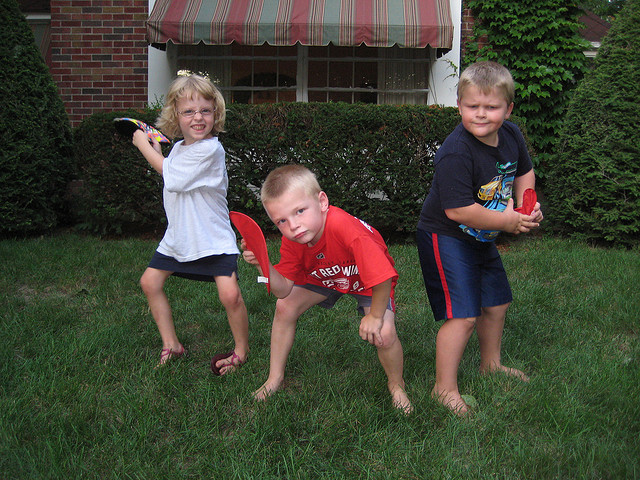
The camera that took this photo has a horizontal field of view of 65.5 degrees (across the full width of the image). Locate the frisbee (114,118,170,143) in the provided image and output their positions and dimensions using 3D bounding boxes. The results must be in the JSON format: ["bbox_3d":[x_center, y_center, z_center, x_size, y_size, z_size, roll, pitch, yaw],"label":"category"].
[{"bbox_3d":[-1.249,-0.807,3.653,0.396,0.179,0.263,2,15,15],"label":"frisbee"}]

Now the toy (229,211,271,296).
[{"bbox_3d":[-0.412,0.028,2.950,0.273,0.377,0.080,9,16,37],"label":"toy"}]

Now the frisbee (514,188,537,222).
[{"bbox_3d":[1.336,-0.232,3.204,0.094,0.222,0.037,5,-6,-10],"label":"frisbee"}]

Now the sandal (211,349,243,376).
[{"bbox_3d":[-0.645,0.844,3.440,0.206,0.127,0.075,-21,0,-26],"label":"sandal"}]

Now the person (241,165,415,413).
[{"bbox_3d":[0.023,0.287,3.228,0.945,1.569,0.890,-2,12,1],"label":"person"}]

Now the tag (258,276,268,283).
[{"bbox_3d":[-0.335,0.227,2.860,0.037,0.026,0.039,0,1,21],"label":"tag"}]

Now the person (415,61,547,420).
[{"bbox_3d":[1.084,-0.077,3.221,0.732,2.063,1.227,11,18,43],"label":"person"}]

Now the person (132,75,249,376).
[{"bbox_3d":[-0.911,-0.119,3.472,0.758,1.980,0.758,-2,13,-1],"label":"person"}]

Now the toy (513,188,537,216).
[{"bbox_3d":[1.341,-0.249,3.241,0.105,0.240,0.040,8,-26,19],"label":"toy"}]
